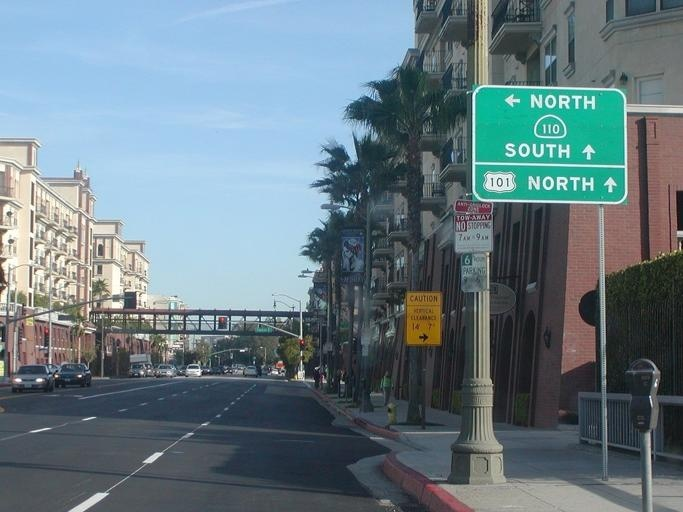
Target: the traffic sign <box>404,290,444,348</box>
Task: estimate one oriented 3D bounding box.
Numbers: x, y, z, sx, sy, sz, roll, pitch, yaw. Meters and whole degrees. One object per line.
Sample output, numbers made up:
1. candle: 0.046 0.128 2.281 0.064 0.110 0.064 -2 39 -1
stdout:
1. traffic sign: 2.588 1.946 31.538 1.071 1.769 0.875 -1 -7 1
